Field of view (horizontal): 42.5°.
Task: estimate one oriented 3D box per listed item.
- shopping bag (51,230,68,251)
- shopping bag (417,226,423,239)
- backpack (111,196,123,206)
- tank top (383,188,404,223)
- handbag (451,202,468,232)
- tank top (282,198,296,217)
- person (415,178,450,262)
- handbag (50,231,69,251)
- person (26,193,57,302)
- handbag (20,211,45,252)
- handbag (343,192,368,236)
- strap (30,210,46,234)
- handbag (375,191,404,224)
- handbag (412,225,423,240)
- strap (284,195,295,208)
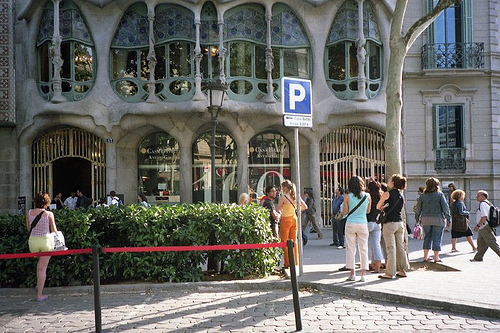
[{"bbox_3d":[-5.866,2.285,19.662,0.404,0.661,0.372,-17,2,26],"label":"shopping bag"},{"bbox_3d":[5.766,2.216,21.593,0.166,0.411,0.374,-4,-4,34],"label":"shopping bag"},{"bbox_3d":[-5.496,1.437,26.438,0.316,0.350,0.248,6,28,28],"label":"backpack"},{"bbox_3d":[4.633,1.341,20.865,0.744,1.423,1.066,-3,-6,13],"label":"tank top"},{"bbox_3d":[7.869,1.961,23.672,0.805,1.248,0.504,-2,-9,42],"label":"handbag"},{"bbox_3d":[1.305,1.422,21.446,0.453,0.622,0.347,1,3,10],"label":"tank top"},{"bbox_3d":[6.339,1.848,22.055,1.120,2.857,0.617,-3,-3,15],"label":"person"},{"bbox_3d":[-5.872,2.299,19.646,0.426,0.632,0.349,-18,-5,25],"label":"handbag"},{"bbox_3d":[-6.372,2.436,19.627,0.946,3.241,0.545,-2,-3,-4],"label":"person"},{"bbox_3d":[-6.821,2.055,19.975,0.910,1.263,0.324,13,-9,-15],"label":"handbag"},{"bbox_3d":[3.372,1.510,20.362,0.854,1.287,0.624,-3,-3,22],"label":"handbag"},{"bbox_3d":[-6.563,1.701,19.628,0.126,0.782,0.043,27,-14,-7],"label":"strap"},{"bbox_3d":[4.451,1.334,20.400,1.096,0.401,0.634,-48,4,7],"label":"handbag"},{"bbox_3d":[5.773,2.242,21.880,0.331,0.481,0.895,-3,-3,15],"label":"handbag"},{"bbox_3d":[1.324,1.190,21.432,0.049,0.507,0.040,-41,12,-29],"label":"strap"}]
